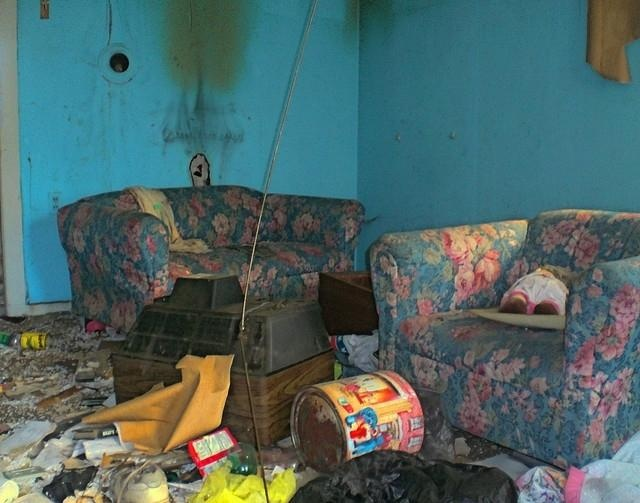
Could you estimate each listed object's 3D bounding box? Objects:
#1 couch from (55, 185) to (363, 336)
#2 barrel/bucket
[{"bbox_3d":[-0.626,-0.028,3.398,1.017,0.682,1.386,10,15,44],"label":"couch"},{"bbox_3d":[0.133,0.561,1.894,0.398,0.262,0.275,-4,12,-22],"label":"barrel/bucket"}]
